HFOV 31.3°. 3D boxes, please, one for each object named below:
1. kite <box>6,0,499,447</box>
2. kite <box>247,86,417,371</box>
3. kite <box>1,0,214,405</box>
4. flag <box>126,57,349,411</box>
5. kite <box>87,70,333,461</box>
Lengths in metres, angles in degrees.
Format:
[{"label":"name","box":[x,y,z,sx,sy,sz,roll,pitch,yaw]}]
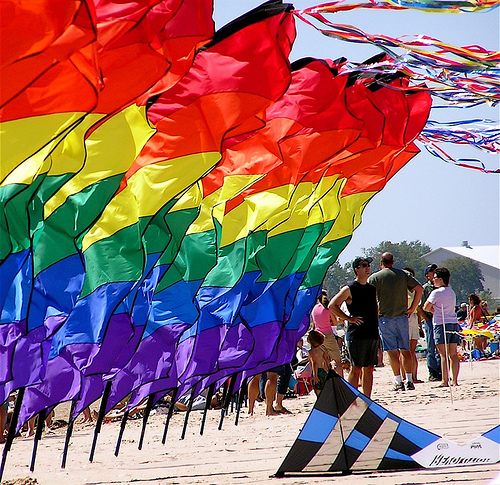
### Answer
[{"label":"kite","box":[-0.125,-0.075,6.801,1.275,3.947,0.770,44,-12,5]},{"label":"kite","box":[0.698,-0.165,8.266,2.155,2.211,0.241,-27,44,-32]},{"label":"kite","box":[-0.960,-0.317,5.839,0.224,2.934,0.429,20,-11,32]},{"label":"flag","box":[-0.114,-0.116,7.297,0.360,3.135,2.644,-2,12,-38]},{"label":"kite","box":[-0.319,0.151,7.059,0.520,3.221,0.744,23,-7,27]}]
